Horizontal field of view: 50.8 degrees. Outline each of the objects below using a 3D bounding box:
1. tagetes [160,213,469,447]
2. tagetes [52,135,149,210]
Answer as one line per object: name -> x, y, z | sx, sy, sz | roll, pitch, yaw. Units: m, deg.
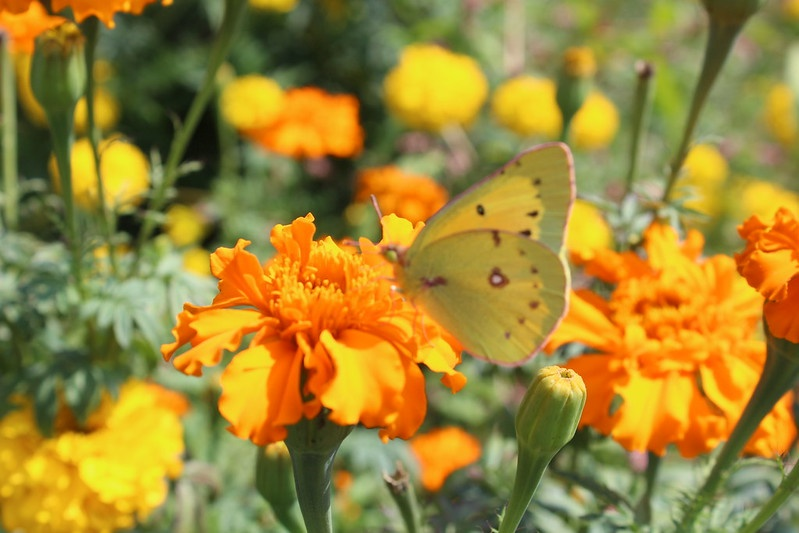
tagetes -> -0.182, 0.132, 2.123 | 0.719, 0.284, 0.805 | 15, 13, 41
tagetes -> -0.820, -0.273, 2.400 | 0.243, 0.132, 0.208 | -6, -79, 4
